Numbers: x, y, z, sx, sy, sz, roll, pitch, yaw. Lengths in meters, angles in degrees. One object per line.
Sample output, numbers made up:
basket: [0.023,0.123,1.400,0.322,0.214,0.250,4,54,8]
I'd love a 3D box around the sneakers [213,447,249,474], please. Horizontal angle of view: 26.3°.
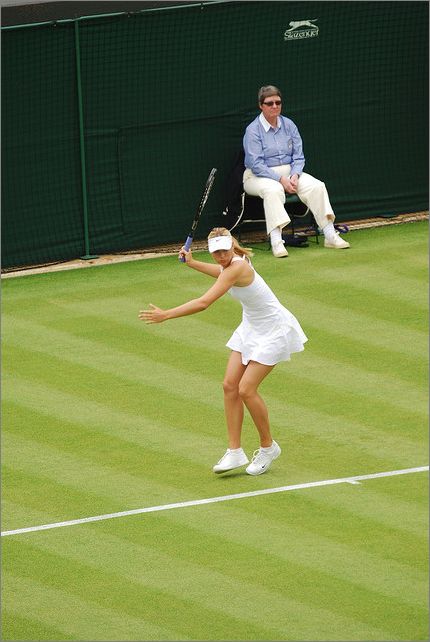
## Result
sneakers: [0.116,0.877,5.831,0.111,0.115,0.287,-1,9,45]

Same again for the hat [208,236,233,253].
hat: [0.030,-0.483,5.692,0.146,0.105,0.150,-2,11,0]

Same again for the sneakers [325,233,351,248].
sneakers: [1.506,-1.000,11.514,0.353,0.138,0.154,7,14,44]

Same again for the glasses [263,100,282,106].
glasses: [0.680,-2.643,11.087,0.207,0.074,0.123,-5,11,-15]

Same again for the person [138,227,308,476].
person: [0.167,0.213,5.734,0.410,1.580,0.859,5,15,33]
